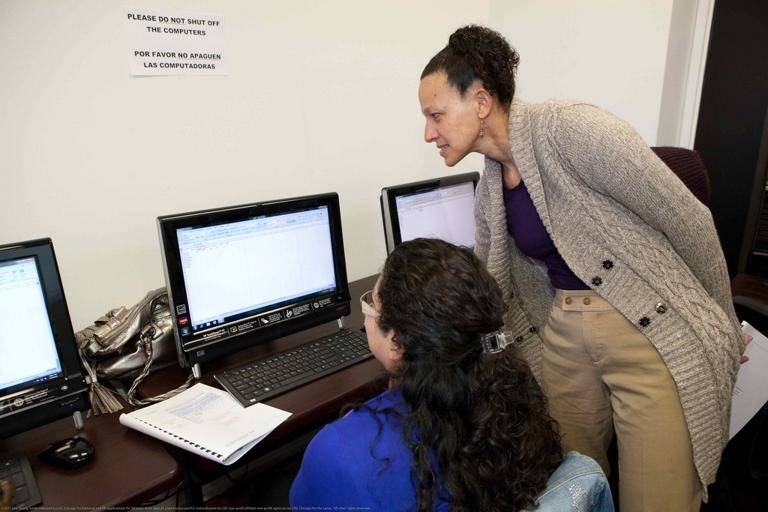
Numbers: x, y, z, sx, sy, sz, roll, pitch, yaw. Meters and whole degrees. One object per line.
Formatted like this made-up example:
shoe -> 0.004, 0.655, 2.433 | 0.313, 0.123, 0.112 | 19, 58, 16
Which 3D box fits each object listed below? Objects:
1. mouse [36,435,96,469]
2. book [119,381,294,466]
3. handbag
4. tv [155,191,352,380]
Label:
mouse -> -0.932, 0.578, 1.516 | 0.154, 0.037, 0.112 | 10, 25, 28
book -> -0.546, 0.513, 1.582 | 0.312, 0.044, 0.303 | 13, 20, 25
handbag -> -0.855, 0.289, 1.882 | 0.374, 0.168, 0.294 | -34, 32, -26
tv -> -0.444, 0.082, 1.920 | 0.718, 0.568, 0.169 | -14, 19, -42
